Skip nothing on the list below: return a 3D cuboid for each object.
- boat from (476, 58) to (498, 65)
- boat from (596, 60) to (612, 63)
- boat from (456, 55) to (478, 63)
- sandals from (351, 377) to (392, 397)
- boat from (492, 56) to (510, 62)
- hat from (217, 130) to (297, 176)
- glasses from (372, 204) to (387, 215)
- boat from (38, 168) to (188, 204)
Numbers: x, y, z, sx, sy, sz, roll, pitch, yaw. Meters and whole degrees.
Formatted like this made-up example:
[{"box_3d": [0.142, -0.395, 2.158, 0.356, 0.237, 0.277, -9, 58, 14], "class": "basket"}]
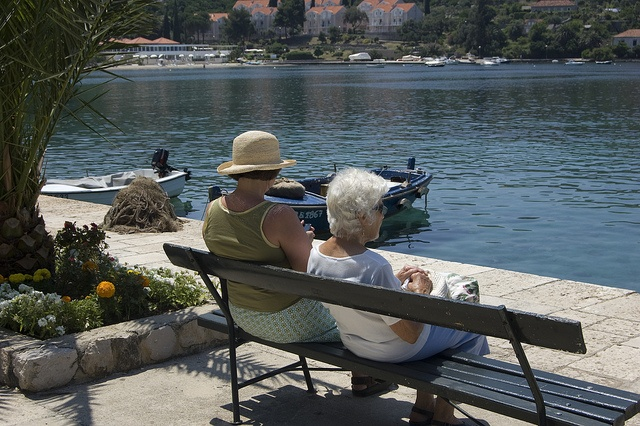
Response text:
[{"box_3d": [39.187, -35.098, 201.949, 4.640, 1.657, 11.880, 3, 8, 4], "class": "boat"}, {"box_3d": [61.895, -32.674, 187.199, 3.283, 0.842, 0.969, -2, 4, -4], "class": "boat"}, {"box_3d": [35.582, -37.137, 208.163, 3.997, 2.844, 7.757, 4, 8, 7], "class": "boat"}, {"box_3d": [0.482, 1.698, 8.449, 0.474, 0.184, 0.179, -5, 11, -34], "class": "sandals"}, {"box_3d": [42.273, -35.572, 201.493, 4.608, 1.471, 1.485, 1, 16, 1], "class": "boat"}, {"box_3d": [-0.642, -0.614, 8.473, 0.854, 0.352, 0.629, -11, 14, -36], "class": "hat"}, {"box_3d": [0.537, -0.032, 7.861, 0.103, 0.031, 0.104, 17, 10, 33], "class": "glasses"}, {"box_3d": [-4.936, -0.668, 21.328, 1.501, 0.769, 4.192, 6, 6, 39], "class": "boat"}]
